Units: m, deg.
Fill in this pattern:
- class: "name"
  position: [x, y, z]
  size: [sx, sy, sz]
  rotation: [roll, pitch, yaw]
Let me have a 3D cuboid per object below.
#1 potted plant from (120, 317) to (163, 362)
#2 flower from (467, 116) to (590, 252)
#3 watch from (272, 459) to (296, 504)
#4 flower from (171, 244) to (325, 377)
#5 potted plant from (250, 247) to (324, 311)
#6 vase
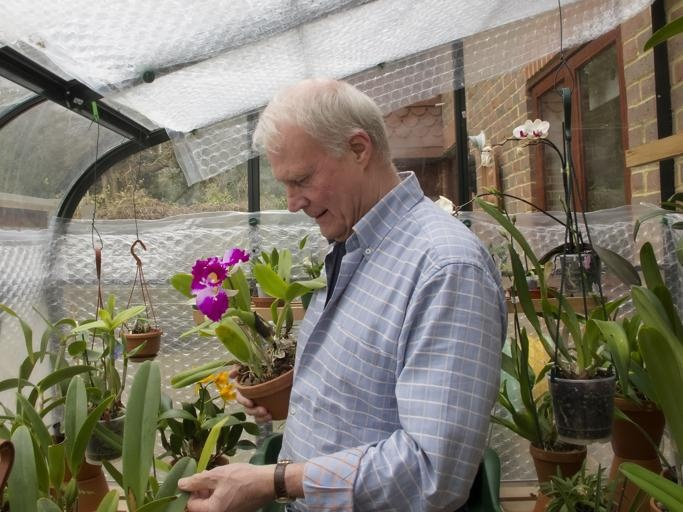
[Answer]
- class: "potted plant"
  position: [-0.933, 0.371, 2.625]
  size: [0.167, 0.223, 0.179]
  rotation: [-2, -1, 17]
- class: "flower"
  position: [0.756, -0.263, 2.230]
  size: [0.453, 0.682, 0.233]
  rotation: [0, -29, 12]
- class: "watch"
  position: [-0.150, 0.580, 1.443]
  size: [0.047, 0.105, 0.053]
  rotation: [-2, -3, -3]
- class: "flower"
  position: [-0.282, 0.187, 1.983]
  size: [0.468, 0.372, 0.473]
  rotation: [-4, -4, 29]
- class: "potted plant"
  position: [-0.229, 0.073, 1.954]
  size: [0.272, 0.153, 0.283]
  rotation: [5, 1, 36]
- class: "vase"
  position: [-0.232, 0.447, 1.829]
  size: [0.175, 0.152, 0.187]
  rotation: [-10, 8, -15]
